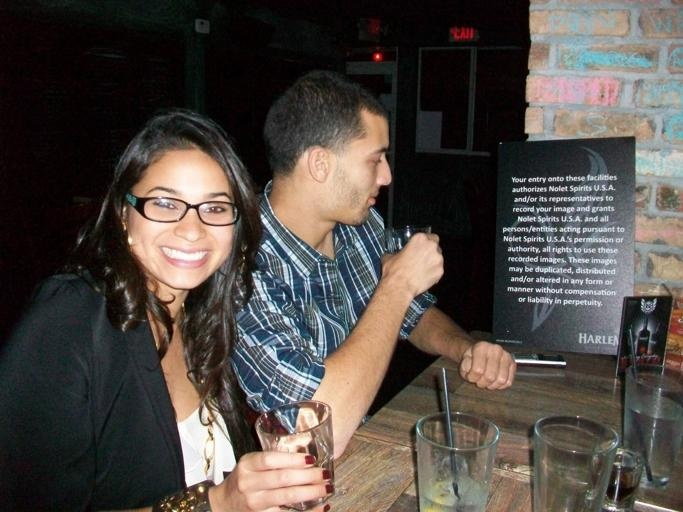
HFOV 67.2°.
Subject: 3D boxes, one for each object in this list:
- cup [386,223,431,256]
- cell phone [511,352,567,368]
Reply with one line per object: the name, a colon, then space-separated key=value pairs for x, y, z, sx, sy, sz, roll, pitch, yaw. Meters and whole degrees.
cup: x=0.241 y=-0.059 z=1.904 sx=0.125 sy=0.092 sz=0.110 roll=0 pitch=-3 yaw=-21
cell phone: x=0.650 y=0.341 z=1.678 sx=0.121 sy=0.025 sz=0.067 roll=1 pitch=7 yaw=6
